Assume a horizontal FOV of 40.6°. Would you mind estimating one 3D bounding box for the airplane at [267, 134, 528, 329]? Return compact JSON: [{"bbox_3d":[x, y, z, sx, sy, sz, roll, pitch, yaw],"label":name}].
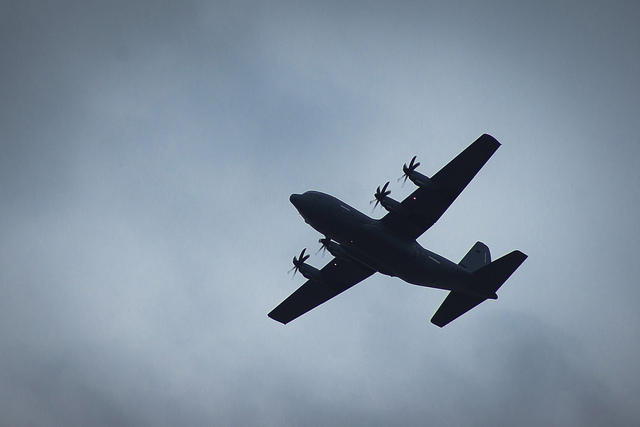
[{"bbox_3d":[6.505,3.020,68.730,15.209,6.647,18.337,30,-63,-20],"label":"airplane"}]
